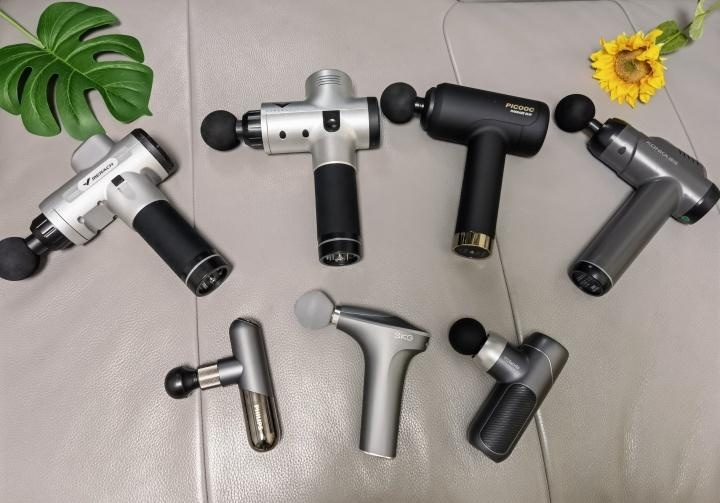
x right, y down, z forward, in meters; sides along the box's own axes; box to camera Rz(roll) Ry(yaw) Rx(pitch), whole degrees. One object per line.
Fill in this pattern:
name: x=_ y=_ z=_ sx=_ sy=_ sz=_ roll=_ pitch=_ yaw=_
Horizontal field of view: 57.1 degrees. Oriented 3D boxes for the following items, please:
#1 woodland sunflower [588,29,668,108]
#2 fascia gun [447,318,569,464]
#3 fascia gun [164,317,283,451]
woodland sunflower: x=0.759 y=-0.523 z=1.928 sx=0.221 sy=0.212 sz=0.173 roll=35 pitch=46 yaw=23
fascia gun: x=0.391 y=0.342 z=1.688 sx=0.296 sy=0.252 sz=0.251 roll=-6 pitch=41 yaw=7
fascia gun: x=-0.349 y=0.366 z=1.698 sx=0.266 sy=0.226 sz=0.241 roll=-19 pitch=41 yaw=-8
